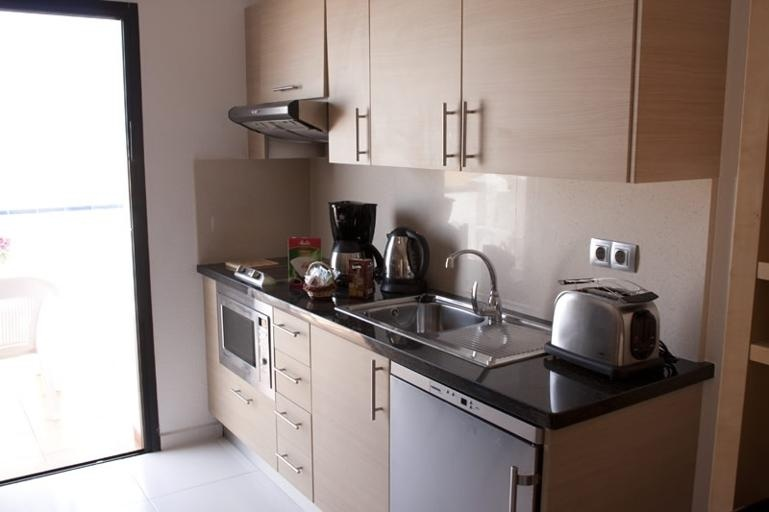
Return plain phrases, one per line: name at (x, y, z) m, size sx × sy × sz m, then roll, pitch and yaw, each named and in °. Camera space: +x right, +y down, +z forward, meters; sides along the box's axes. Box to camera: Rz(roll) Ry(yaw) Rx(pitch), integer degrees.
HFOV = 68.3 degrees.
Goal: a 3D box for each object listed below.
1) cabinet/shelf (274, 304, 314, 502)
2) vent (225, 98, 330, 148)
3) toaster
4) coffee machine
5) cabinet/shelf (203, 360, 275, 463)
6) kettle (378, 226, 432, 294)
cabinet/shelf at (-0.480, 0.762, 2.960) m, size 0.279 × 0.844 × 0.400 m, roll -4°, pitch 12°, yaw -23°
vent at (-0.556, -0.779, 3.261) m, size 0.505 × 0.228 × 0.692 m, roll -7°, pitch 12°, yaw -30°
toaster at (0.805, 0.266, 2.064) m, size 0.407 × 0.285 × 0.197 m, roll 3°, pitch 12°, yaw 21°
coffee machine at (-0.151, -0.037, 3.181) m, size 0.235 × 0.530 × 0.250 m, roll -12°, pitch 20°, yaw -43°
cabinet/shelf at (-0.883, 0.937, 3.455) m, size 0.285 × 0.340 × 0.732 m, roll -2°, pitch 10°, yaw -35°
kettle at (0.109, 0.020, 2.991) m, size 0.200 × 0.351 × 0.228 m, roll -9°, pitch 15°, yaw -37°
